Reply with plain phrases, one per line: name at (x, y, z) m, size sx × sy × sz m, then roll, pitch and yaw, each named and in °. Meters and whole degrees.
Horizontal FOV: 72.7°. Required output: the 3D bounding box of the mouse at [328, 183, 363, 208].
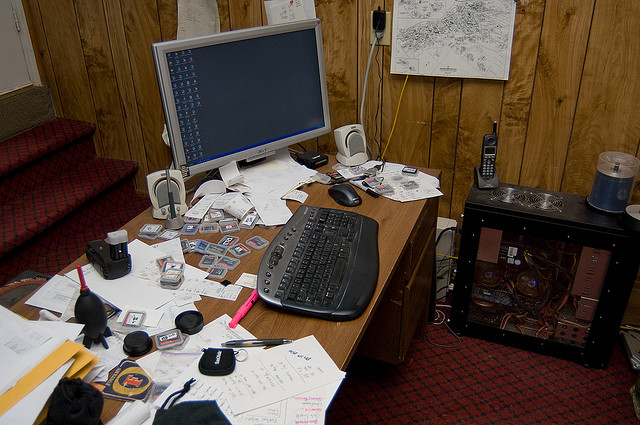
mouse at (0.109, -0.073, 1.951) m, size 0.086 × 0.045 × 0.135 m, roll -23°, pitch 43°, yaw -33°

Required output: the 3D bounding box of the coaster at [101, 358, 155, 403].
coaster at (-0.562, 0.504, 1.297) m, size 0.144 × 0.026 × 0.115 m, roll 5°, pitch 34°, yaw 6°

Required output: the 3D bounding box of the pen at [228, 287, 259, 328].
pen at (-0.248, 0.324, 1.502) m, size 0.038 × 0.026 × 0.200 m, roll 5°, pitch 35°, yaw 23°

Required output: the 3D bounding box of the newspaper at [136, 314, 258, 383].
newspaper at (-0.390, 0.438, 1.367) m, size 0.297 × 0.012 × 0.215 m, roll 0°, pitch 30°, yaw 3°

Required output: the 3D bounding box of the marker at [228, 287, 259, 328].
marker at (-0.248, 0.325, 1.500) m, size 0.039 × 0.027 × 0.204 m, roll 12°, pitch 37°, yaw 18°

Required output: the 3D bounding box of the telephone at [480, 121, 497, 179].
telephone at (0.869, -0.327, 2.249) m, size 0.078 × 0.290 × 0.109 m, roll 1°, pitch 32°, yaw 1°

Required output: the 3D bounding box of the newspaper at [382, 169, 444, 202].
newspaper at (0.424, -0.167, 2.101) m, size 0.270 × 0.114 × 0.277 m, roll -6°, pitch 25°, yaw -14°

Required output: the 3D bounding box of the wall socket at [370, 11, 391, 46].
wall socket at (0.332, -1.013, 2.388) m, size 0.116 × 0.180 × 0.014 m, roll 2°, pitch 3°, yaw 1°

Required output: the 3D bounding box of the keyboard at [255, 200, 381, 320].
keyboard at (0.020, 0.178, 1.659) m, size 0.418 × 0.104 × 0.570 m, roll 2°, pitch 36°, yaw 12°
